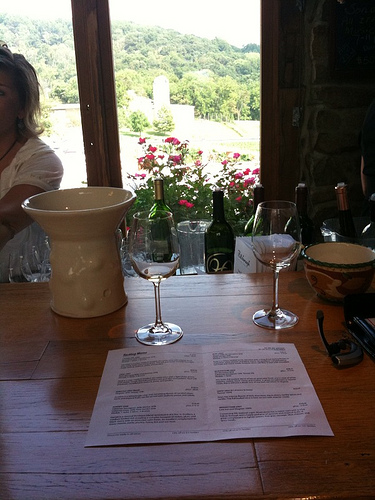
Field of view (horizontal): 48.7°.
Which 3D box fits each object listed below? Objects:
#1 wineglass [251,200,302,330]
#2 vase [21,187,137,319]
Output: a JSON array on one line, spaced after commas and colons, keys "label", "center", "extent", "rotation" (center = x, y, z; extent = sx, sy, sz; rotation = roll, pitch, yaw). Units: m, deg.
[{"label": "wineglass", "center": [0.158, 0.024, 0.744], "extent": [0.091, 0.206, 0.090], "rotation": [2, 5, 29]}, {"label": "vase", "center": [-0.205, 0.013, 0.797], "extent": [0.207, 0.202, 0.183], "rotation": [-4, 17, -16]}]
